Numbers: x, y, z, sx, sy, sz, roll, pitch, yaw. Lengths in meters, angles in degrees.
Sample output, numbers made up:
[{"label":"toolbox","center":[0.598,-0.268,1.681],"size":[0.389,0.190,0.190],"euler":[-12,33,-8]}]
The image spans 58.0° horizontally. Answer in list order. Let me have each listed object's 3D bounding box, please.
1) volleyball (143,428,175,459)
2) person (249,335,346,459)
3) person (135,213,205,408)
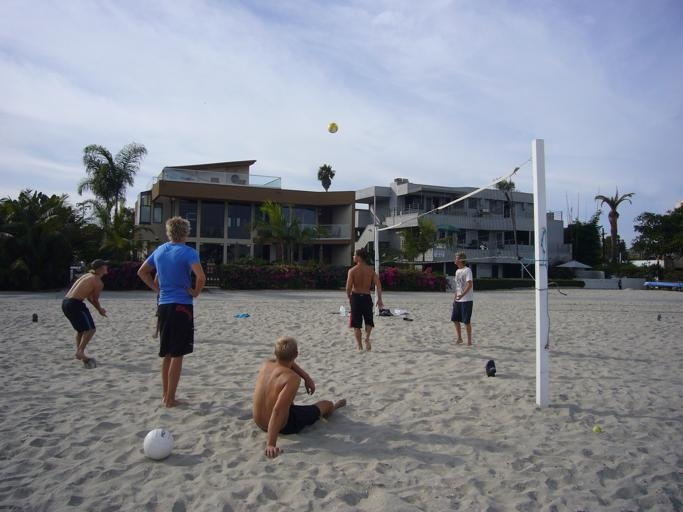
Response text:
[{"label":"volleyball","center":[-1.784,1.837,6.038],"size":[0.289,0.263,0.214],"euler":[-3,10,-17]},{"label":"person","center":[-0.554,1.393,6.509],"size":[0.673,0.847,1.159],"euler":[11,20,33]},{"label":"person","center":[-1.893,0.639,7.057],"size":[0.554,2.119,0.629],"euler":[-3,10,-20]}]
